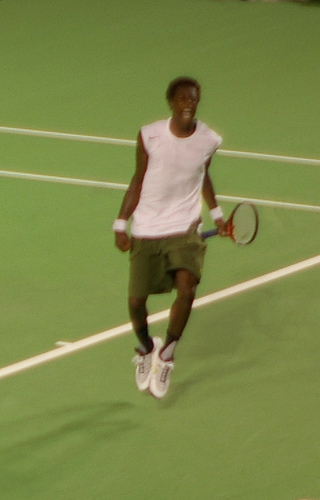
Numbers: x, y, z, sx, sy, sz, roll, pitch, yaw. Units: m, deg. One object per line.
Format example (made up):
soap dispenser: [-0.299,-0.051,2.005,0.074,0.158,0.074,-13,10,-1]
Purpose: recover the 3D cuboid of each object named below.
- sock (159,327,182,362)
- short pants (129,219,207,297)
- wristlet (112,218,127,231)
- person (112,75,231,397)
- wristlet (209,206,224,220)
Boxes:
sock: [0.048,0.538,2.666,0.087,0.238,0.194,1,10,-8]
short pants: [0.013,0.008,2.556,0.419,0.448,0.250,-3,-5,9]
wristlet: [-0.217,-0.135,2.549,0.071,0.046,0.064,1,2,16]
person: [0.044,0.001,2.597,0.458,1.795,0.383,8,12,27]
wristlet: [0.333,-0.226,2.909,0.080,0.060,0.077,-33,-6,36]
